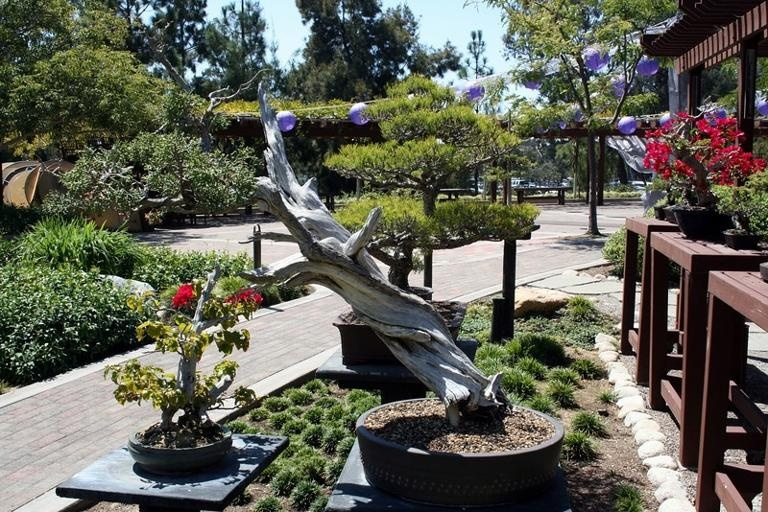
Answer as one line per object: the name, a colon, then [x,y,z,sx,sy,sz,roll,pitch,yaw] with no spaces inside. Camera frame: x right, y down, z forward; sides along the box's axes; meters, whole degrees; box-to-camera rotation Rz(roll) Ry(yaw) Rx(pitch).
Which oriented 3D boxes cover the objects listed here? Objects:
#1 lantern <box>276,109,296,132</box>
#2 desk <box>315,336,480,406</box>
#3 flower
lantern: [-2.633,-3.661,17.015,0.424,0.532,0.979,-4,10,-4]
desk: [-0.103,1.150,5.779,0.943,0.455,0.426,-2,10,10]
flower: [-1.929,0.854,5.770,1.075,1.768,2.870,-7,11,-25]
